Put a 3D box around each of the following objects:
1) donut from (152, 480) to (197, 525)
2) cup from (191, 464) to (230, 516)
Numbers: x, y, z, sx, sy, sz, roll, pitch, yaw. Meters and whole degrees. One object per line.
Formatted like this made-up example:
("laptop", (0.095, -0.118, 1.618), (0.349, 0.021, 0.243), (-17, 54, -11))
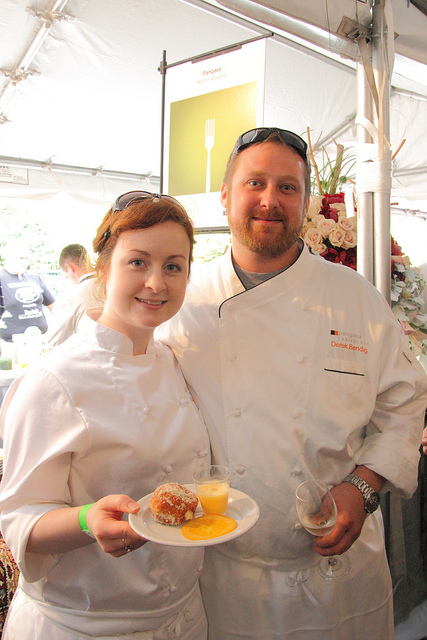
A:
("donut", (-0.097, 0.421, 1.194), (0.097, 0.083, 0.091), (1, 8, -23))
("cup", (0.001, 0.419, 1.223), (0.092, 0.096, 0.099), (-6, -10, -1))
